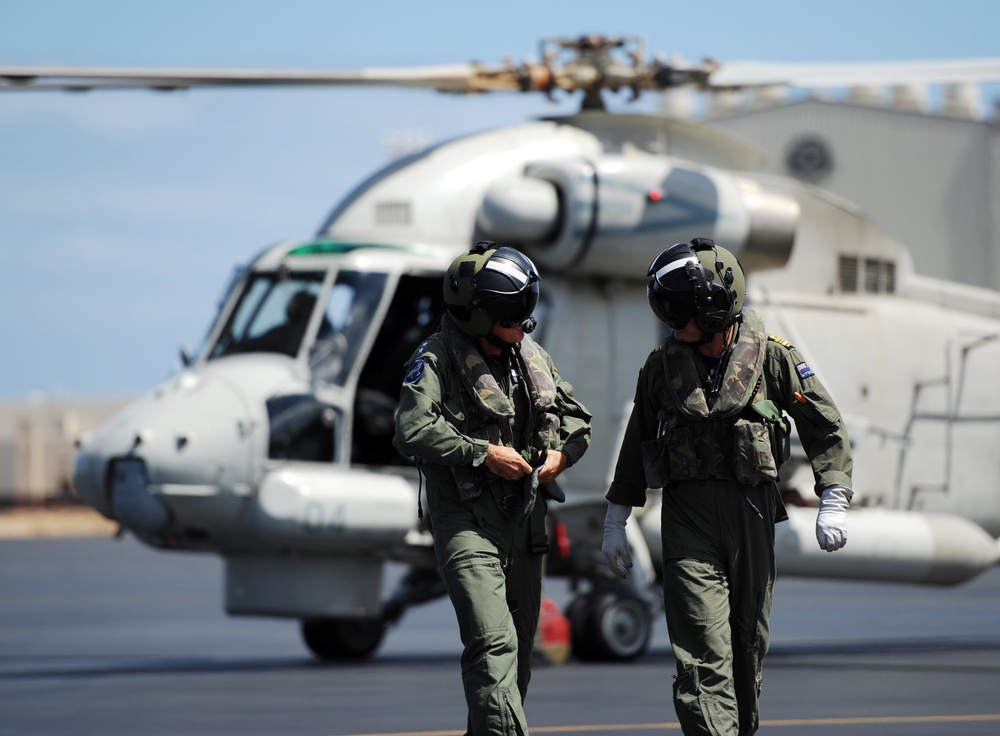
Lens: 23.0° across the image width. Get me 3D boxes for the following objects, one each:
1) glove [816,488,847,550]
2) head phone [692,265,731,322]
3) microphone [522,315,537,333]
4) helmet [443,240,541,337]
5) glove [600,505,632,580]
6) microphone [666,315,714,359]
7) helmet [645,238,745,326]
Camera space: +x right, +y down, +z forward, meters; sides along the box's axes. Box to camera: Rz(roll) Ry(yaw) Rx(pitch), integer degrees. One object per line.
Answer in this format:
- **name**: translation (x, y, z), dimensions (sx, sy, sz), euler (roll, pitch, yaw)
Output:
- **glove**: translation (1.771, 0.809, 13.112), dimensions (0.182, 0.316, 0.136), euler (2, -12, 17)
- **head phone**: translation (1.165, -0.387, 13.125), dimensions (0.206, 0.266, 0.272), euler (-6, 15, 6)
- **microphone**: translation (0.165, -0.232, 13.242), dimensions (0.069, 0.079, 0.087), euler (1, -41, -17)
- **helmet**: translation (-0.037, -0.410, 13.136), dimensions (0.497, 0.448, 0.439), euler (-1, 4, 21)
- **glove**: translation (0.601, 0.957, 13.418), dimensions (0.094, 0.339, 0.252), euler (-8, -17, 36)
- **microphone**: translation (1.046, -0.153, 13.171), dimensions (0.235, 0.130, 0.168), euler (19, 5, -29)
- **helmet**: translation (1.055, -0.422, 13.283), dimensions (0.500, 0.447, 0.417), euler (3, -14, -21)
